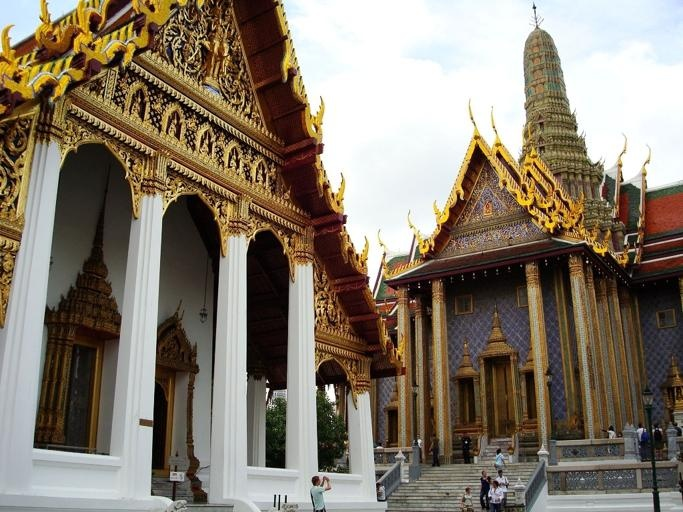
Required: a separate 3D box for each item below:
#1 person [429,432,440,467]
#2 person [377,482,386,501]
[{"bbox_3d":[2.921,6.019,19.398,0.260,0.999,1.220,-4,-19,8],"label":"person"},{"bbox_3d":[1.063,6.204,16.487,0.226,0.445,0.804,-3,-19,5],"label":"person"}]
